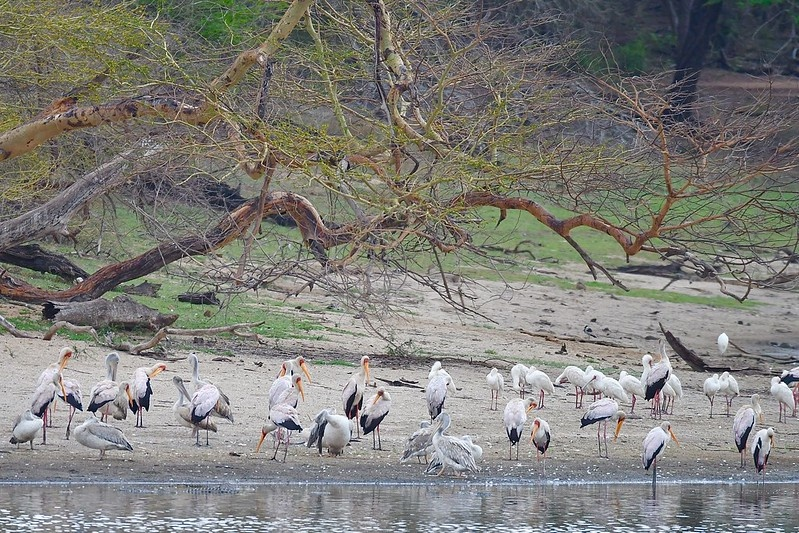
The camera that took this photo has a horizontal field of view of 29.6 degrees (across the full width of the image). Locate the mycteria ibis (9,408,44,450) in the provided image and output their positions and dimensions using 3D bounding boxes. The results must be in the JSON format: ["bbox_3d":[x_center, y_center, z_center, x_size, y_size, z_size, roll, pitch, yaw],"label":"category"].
[{"bbox_3d":[-7.341,3.144,29.481,0.544,0.872,1.049,5,-1,-33],"label":"mycteria ibis"}]

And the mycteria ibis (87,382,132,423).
[{"bbox_3d":[-5.867,2.659,30.270,0.758,0.861,0.418,18,-35,-16],"label":"mycteria ibis"}]

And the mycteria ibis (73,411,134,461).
[{"bbox_3d":[-5.876,3.419,29.617,0.855,0.824,1.329,-2,-14,39],"label":"mycteria ibis"}]
